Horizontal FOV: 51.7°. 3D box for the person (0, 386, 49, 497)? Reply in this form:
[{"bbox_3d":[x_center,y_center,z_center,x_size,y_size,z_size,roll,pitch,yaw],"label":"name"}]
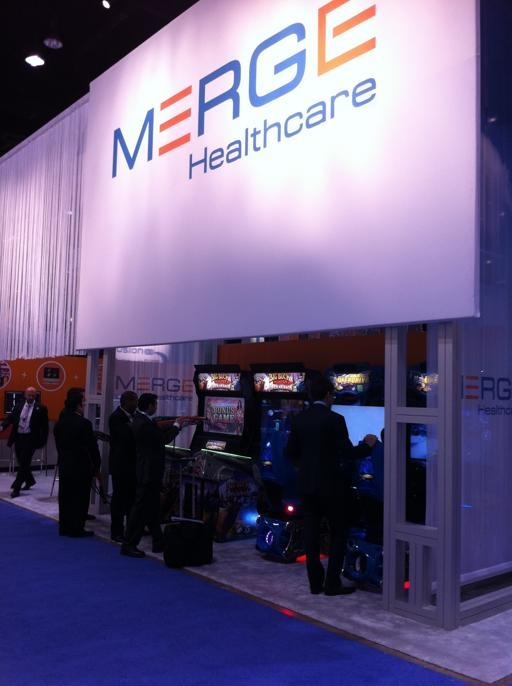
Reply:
[{"bbox_3d":[-3.227,1.336,7.332,0.615,1.432,1.366,4,-9,-25],"label":"person"}]

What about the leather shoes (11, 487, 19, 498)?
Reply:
[{"bbox_3d":[-3.065,1.906,6.708,0.112,0.109,0.281,4,-10,-24],"label":"leather shoes"}]

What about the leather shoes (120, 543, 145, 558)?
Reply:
[{"bbox_3d":[-0.943,1.596,4.073,0.184,0.111,0.083,3,-9,20],"label":"leather shoes"}]

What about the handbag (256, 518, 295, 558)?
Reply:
[{"bbox_3d":[0.072,1.587,4.279,0.346,0.304,0.213,21,-26,-30],"label":"handbag"}]

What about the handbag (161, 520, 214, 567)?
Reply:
[{"bbox_3d":[-0.518,1.472,3.885,0.339,0.418,0.262,12,-20,-36],"label":"handbag"}]
